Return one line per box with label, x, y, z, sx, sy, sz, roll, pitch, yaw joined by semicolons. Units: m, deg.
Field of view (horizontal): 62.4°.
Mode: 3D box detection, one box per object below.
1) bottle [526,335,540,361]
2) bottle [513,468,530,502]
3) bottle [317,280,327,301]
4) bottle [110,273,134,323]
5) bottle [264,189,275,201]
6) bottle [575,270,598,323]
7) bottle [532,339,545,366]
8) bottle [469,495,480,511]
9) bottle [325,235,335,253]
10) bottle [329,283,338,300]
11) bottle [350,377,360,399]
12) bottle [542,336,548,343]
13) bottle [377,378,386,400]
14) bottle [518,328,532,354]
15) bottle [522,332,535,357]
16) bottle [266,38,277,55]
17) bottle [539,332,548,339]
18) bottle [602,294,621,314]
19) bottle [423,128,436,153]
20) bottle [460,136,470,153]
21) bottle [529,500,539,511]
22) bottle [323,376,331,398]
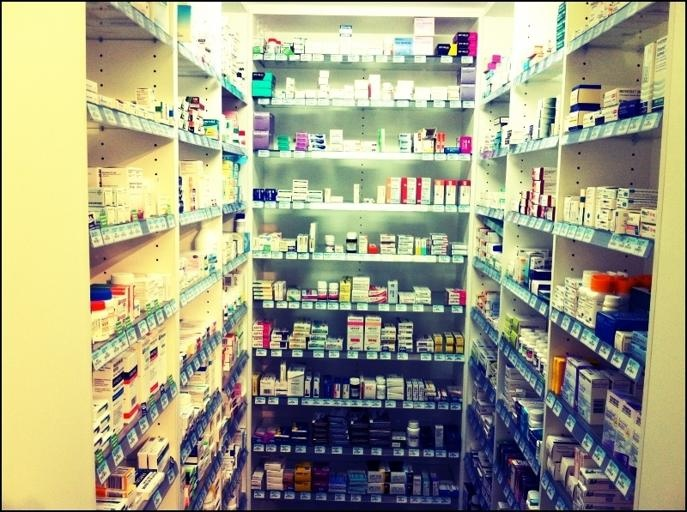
bottle;1.291;0.643;3.898;0.109;0.114;0.138;1;-86;8
bottle;1.247;1.603;3.977;0.112;0.208;0.205;1;-85;9
bottle;-0.214;0.327;5.473;0.132;0.138;0.252;0;-88;-4
bottle;-1.194;0.233;3.040;0.119;0.229;0.239;-2;-86;-13
bottle;-0.707;-0.583;5.397;0.097;0.024;0.100;0;-90;4
bottle;1.358;0.237;3.178;0.132;0.256;0.181;6;-85;23
bottle;1.273;0.637;3.770;0.102;0.110;0.111;4;-87;10
bottle;1.185;2.228;5.122;0.103;0.107;0.119;1;-82;33
bottle;-0.136;-0.115;5.414;0.090;0.107;0.155;1;-80;-2
bottle;-0.105;0.339;5.493;0.107;0.090;0.167;4;-80;-3
bottle;0.108;1.283;5.627;0.123;0.238;0.245;0;-88;2
bottle;1.381;0.567;3.895;0.008;0.032;0.032;19;-100;-14
bottle;0.359;1.287;5.494;0.112;0.051;0.163;-6;-92;-10
bottle;1.280;0.599;4.038;0.082;0.139;0.139;-1;-85;5
bottle;1.290;0.611;3.981;0.092;0.159;0.160;1;-84;10
bottle;-0.683;-1.963;5.317;0.108;0.131;0.163;-3;-80;-1
bottle;1.387;0.551;3.952;0.035;0.037;0.027;3;-89;1
bottle;1.419;0.247;3.014;0.102;0.060;0.081;-4;-80;-2
bottle;0.797;-1.069;5.279;0.116;0.081;0.216;4;-80;-3
bottle;1.137;-1.050;5.351;0.074;0.143;0.144;1;-85;2
bottle;1.252;1.650;3.752;0.053;0.084;0.020;0;-90;4
bottle;-0.178;1.287;5.591;0.099;0.181;0.164;4;-80;-2
